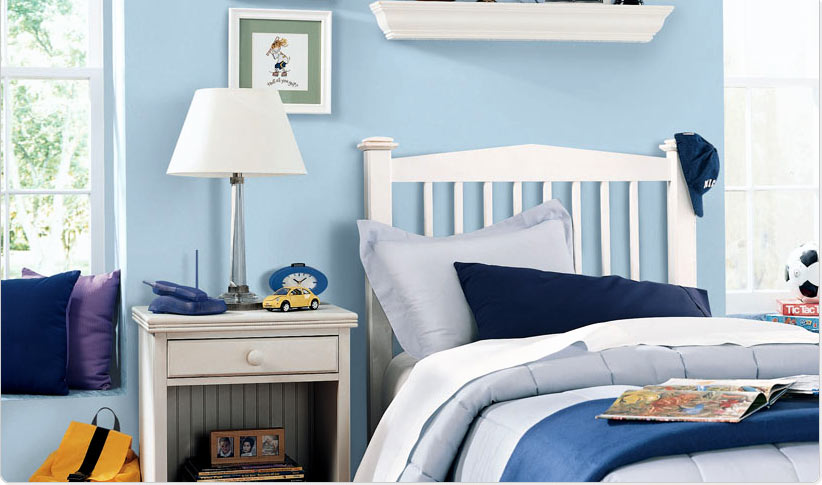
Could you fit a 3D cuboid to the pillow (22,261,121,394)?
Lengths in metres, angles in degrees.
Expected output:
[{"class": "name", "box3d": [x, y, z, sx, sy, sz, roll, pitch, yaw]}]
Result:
[{"class": "pillow", "box3d": [-1.583, 0.424, 3.848, 0.644, 0.572, 0.228, -1, -4, 15]}]

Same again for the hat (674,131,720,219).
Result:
[{"class": "hat", "box3d": [1.458, -0.344, 4.161, 0.287, 0.367, 0.127, -18, 5, -37]}]

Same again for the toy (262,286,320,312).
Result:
[{"class": "toy", "box3d": [-0.512, 0.250, 3.573, 0.204, 0.085, 0.109, 3, -5, -32]}]

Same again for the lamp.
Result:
[{"class": "lamp", "box3d": [-0.768, -0.202, 3.703, 0.596, 0.992, 0.360, -2, 0, -7]}]

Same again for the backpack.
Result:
[{"class": "backpack", "box3d": [-1.452, 0.943, 3.675, 0.465, 0.324, 0.219, -2, 0, -19]}]

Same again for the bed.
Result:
[{"class": "bed", "box3d": [0.406, 0.277, 4.722, 1.736, 1.468, 1.665, -1, 1, -19]}]

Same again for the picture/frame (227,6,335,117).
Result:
[{"class": "picture/frame", "box3d": [-0.634, -0.859, 3.905, 0.639, 0.593, 0.042, 0, -2, -7]}]

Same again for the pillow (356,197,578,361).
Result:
[{"class": "pillow", "box3d": [0.183, 0.235, 3.804, 0.866, 0.698, 0.229, -10, -5, -30]}]

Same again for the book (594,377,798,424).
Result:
[{"class": "book", "box3d": [1.007, 0.553, 2.884, 0.665, 0.129, 0.298, -2, 0, 14]}]

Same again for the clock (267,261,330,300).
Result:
[{"class": "clock", "box3d": [-0.536, 0.179, 3.860, 0.200, 0.130, 0.043, 0, -6, -9]}]
